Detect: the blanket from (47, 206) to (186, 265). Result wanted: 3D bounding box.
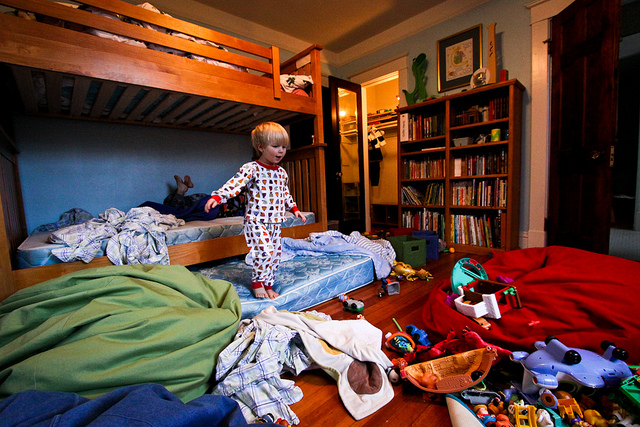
[{"bbox_3d":[-1.625,0.186,3.135,0.948,0.437,0.535,-2,3,-24],"label":"blanket"}]

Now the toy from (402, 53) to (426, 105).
[{"bbox_3d":[1.202,-1.663,4.791,0.268,0.639,0.274,0,3,31],"label":"toy"}]

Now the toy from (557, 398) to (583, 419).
[{"bbox_3d":[1.388,1.084,2.142,0.127,0.094,0.055,-1,3,4],"label":"toy"}]

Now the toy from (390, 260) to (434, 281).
[{"bbox_3d":[0.827,0.523,3.555,0.252,0.093,0.165,-3,11,19],"label":"toy"}]

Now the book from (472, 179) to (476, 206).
[{"bbox_3d":[1.710,-0.235,4.299,0.043,0.350,0.281,0,5,20],"label":"book"}]

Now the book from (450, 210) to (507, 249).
[{"bbox_3d":[1.763,0.184,4.268,0.423,0.369,0.148,4,13,36],"label":"book"}]

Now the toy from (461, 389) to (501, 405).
[{"bbox_3d":[0.920,1.062,2.241,0.183,0.038,0.091,-2,7,7],"label":"toy"}]

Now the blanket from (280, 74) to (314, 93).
[{"bbox_3d":[-0.237,-1.306,3.879,0.269,0.076,0.216,-13,31,-15],"label":"blanket"}]

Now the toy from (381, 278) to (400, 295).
[{"bbox_3d":[0.590,0.621,3.311,0.090,0.079,0.148,-2,7,-16],"label":"toy"}]

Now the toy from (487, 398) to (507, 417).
[{"bbox_3d":[0.997,1.107,2.211,0.066,0.075,0.089,6,-1,-27],"label":"toy"}]

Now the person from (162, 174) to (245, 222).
[{"bbox_3d":[-1.292,-0.149,3.962,0.797,0.314,0.528,4,9,28],"label":"person"}]

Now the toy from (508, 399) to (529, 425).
[{"bbox_3d":[1.119,1.110,2.160,0.105,0.085,0.088,-2,3,-22],"label":"toy"}]

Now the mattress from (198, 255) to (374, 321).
[{"bbox_3d":[-0.246,0.540,3.237,0.586,0.149,0.821,3,6,44],"label":"mattress"}]

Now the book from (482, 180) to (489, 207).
[{"bbox_3d":[1.795,-0.217,4.214,0.043,0.303,0.279,2,4,29],"label":"book"}]

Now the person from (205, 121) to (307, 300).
[{"bbox_3d":[-0.454,-0.033,3.018,0.612,1.338,0.559,-1,3,6],"label":"person"}]

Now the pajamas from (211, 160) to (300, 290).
[{"bbox_3d":[-0.519,0.095,3.091,0.533,1.017,0.423,-7,8,-39],"label":"pajamas"}]

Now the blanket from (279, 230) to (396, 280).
[{"bbox_3d":[0.076,0.379,3.745,0.928,0.249,0.564,-9,30,-20],"label":"blanket"}]

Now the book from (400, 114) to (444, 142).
[{"bbox_3d":[1.235,-1.035,4.649,0.382,0.331,0.127,2,7,28],"label":"book"}]

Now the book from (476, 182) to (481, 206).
[{"bbox_3d":[1.742,-0.218,4.262,0.051,0.248,0.021,1,3,35],"label":"book"}]

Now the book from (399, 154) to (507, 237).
[{"bbox_3d":[1.557,-0.205,4.419,0.982,0.848,0.289,6,14,38],"label":"book"}]

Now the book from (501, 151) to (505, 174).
[{"bbox_3d":[1.925,-0.542,4.081,0.034,0.230,0.011,1,3,39],"label":"book"}]

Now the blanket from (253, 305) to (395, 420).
[{"bbox_3d":[0.067,0.924,2.411,0.648,0.161,0.610,2,27,-10],"label":"blanket"}]

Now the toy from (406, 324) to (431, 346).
[{"bbox_3d":[0.654,0.825,2.625,0.084,0.041,0.117,-6,21,-42],"label":"toy"}]

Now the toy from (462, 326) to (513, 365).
[{"bbox_3d":[1.022,0.841,2.407,0.303,0.156,0.094,21,7,7],"label":"toy"}]
